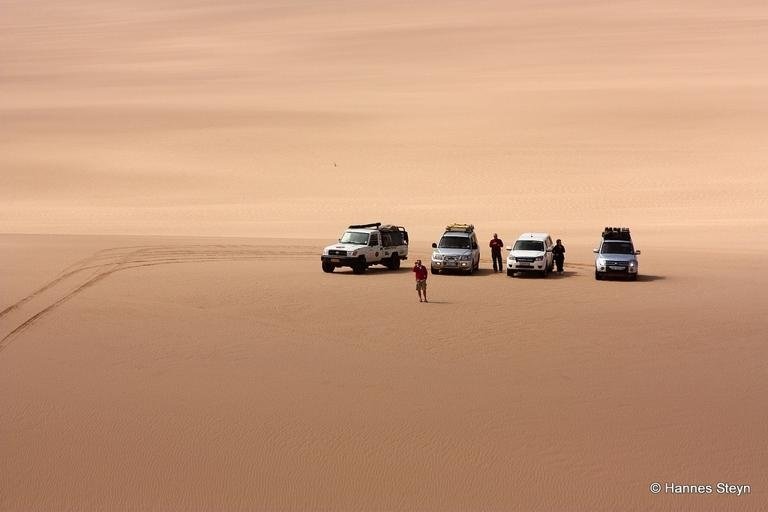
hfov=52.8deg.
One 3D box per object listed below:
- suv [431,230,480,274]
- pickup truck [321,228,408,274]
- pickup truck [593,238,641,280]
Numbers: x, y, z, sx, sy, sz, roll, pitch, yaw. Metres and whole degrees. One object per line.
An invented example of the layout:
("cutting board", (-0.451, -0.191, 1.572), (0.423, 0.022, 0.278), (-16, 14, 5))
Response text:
("suv", (3.441, -0.073, 37.333), (1.854, 2.115, 2.666), (4, 13, 17))
("pickup truck", (-1.003, -0.443, 38.927), (2.120, 2.022, 4.406), (-1, 0, 33))
("pickup truck", (10.781, -0.088, 35.713), (2.052, 1.690, 3.758), (3, 14, 20))
